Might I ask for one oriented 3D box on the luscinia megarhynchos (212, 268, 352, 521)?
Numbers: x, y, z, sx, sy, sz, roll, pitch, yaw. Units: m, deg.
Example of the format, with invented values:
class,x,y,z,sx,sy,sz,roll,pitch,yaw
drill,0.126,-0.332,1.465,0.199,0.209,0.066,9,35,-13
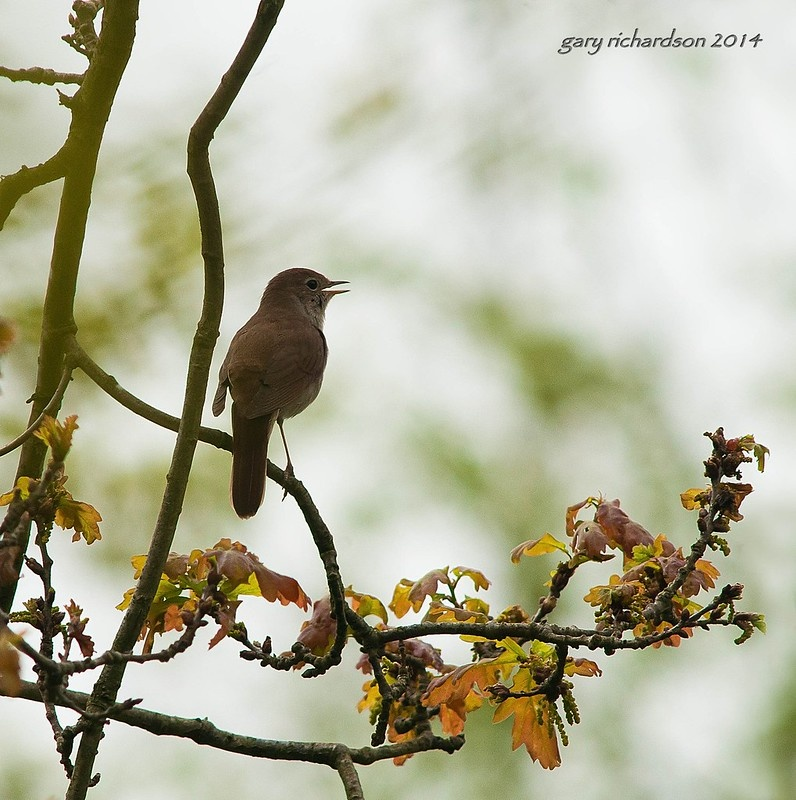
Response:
class,x,y,z,sx,sy,sz,roll,pitch,yaw
luscinia megarhynchos,-0.619,-0.091,6.980,0.430,1.190,1.040,-2,-83,18
